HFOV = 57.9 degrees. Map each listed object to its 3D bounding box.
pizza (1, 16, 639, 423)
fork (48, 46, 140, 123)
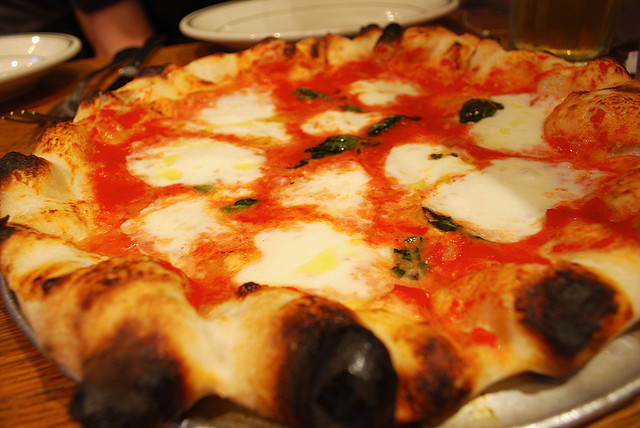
[{"bbox_3d":[0.037,-0.062,1.098,1.244,0.180,0.926,-4,51,3],"label":"pizza"},{"bbox_3d":[-0.591,-0.372,1.602,0.064,0.066,0.453,51,42,-7],"label":"fork"}]
